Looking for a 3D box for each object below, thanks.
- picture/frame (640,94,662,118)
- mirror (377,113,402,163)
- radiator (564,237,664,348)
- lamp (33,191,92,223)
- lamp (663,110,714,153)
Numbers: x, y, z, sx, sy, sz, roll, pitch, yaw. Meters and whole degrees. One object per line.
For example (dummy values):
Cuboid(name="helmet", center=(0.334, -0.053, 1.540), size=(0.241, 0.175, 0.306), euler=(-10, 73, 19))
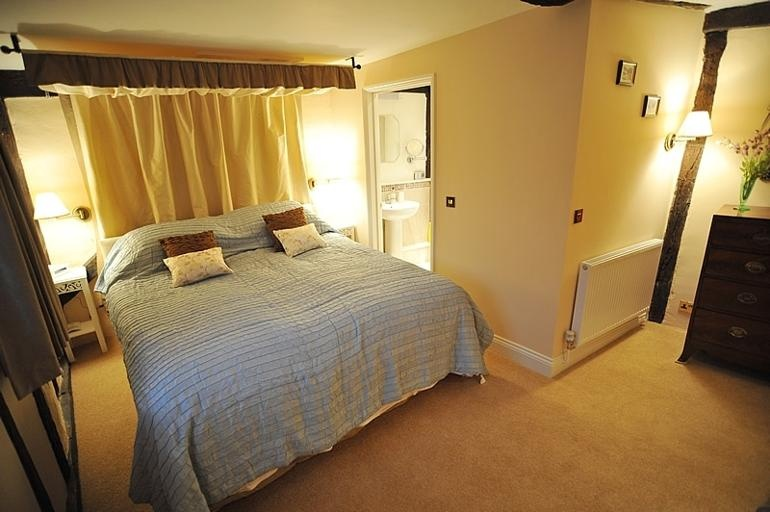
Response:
Cuboid(name="picture/frame", center=(2.406, -1.357, 4.505), size=(0.207, 0.205, 0.049), euler=(-6, 19, -28))
Cuboid(name="mirror", center=(0.070, -1.567, 6.637), size=(0.333, 0.629, 0.091), euler=(-16, 21, -31))
Cuboid(name="radiator", center=(2.151, 0.343, 4.751), size=(0.971, 0.731, 0.129), euler=(-16, 26, -26))
Cuboid(name="lamp", center=(-3.181, -0.470, 4.901), size=(0.238, 0.240, 0.354), euler=(4, 12, 27))
Cuboid(name="lamp", center=(2.953, -1.216, 4.844), size=(0.374, 0.362, 0.417), euler=(7, 21, 33))
